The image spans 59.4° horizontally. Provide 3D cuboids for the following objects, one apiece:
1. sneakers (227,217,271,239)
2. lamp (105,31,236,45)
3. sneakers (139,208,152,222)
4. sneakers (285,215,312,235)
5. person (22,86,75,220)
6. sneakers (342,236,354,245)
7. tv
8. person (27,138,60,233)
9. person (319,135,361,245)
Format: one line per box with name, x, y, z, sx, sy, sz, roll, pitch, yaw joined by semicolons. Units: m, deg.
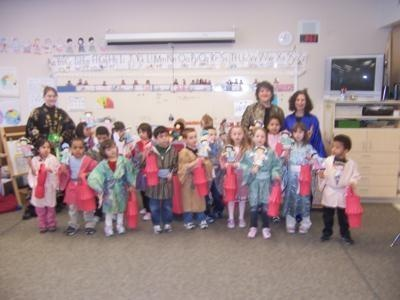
sneakers;0.590;0.979;4.266;0.514;0.228;0.173;5;23;-5
lamp;-0.505;-1.821;5.731;2.108;0.184;0.092;0;14;3
sneakers;-0.749;0.902;4.798;0.188;0.236;0.550;3;-7;-6
sneakers;1.229;0.904;4.381;0.308;0.233;0.252;3;14;14
person;-2.291;-0.051;5.397;0.833;1.800;0.614;0;28;-21
sneakers;1.692;1.041;4.023;0.058;0.108;0.111;-4;3;-30
tv;2.326;-1.130;5.681;1.144;0.955;0.616;3;12;12
person;-1.962;0.472;4.433;0.396;1.122;0.316;6;9;29
person;1.587;0.459;4.067;0.429;1.238;0.461;6;16;24
